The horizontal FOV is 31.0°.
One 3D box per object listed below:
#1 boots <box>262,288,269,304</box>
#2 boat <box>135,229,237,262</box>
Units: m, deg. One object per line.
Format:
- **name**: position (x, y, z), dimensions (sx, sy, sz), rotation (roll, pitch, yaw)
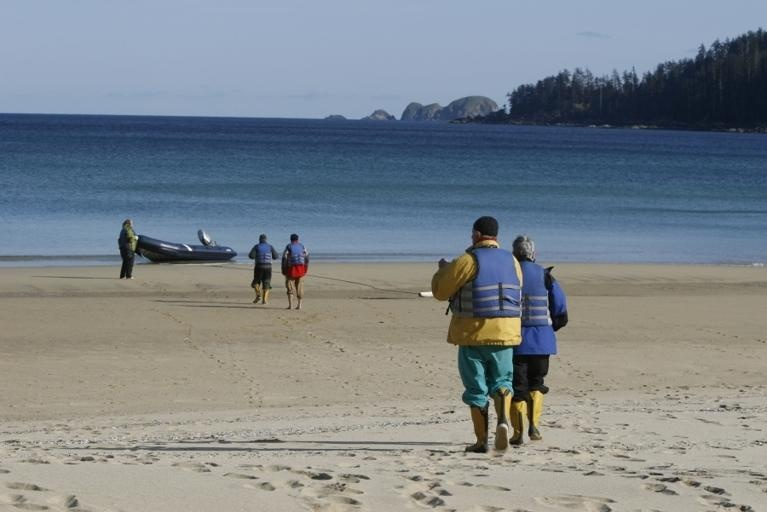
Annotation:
- **boots**: position (-4.939, 1.728, 57.983), dimensions (0.297, 0.635, 1.180), rotation (1, 1, -6)
- **boat**: position (-9.613, -0.336, 66.550), dimensions (3.898, 1.231, 1.763), rotation (4, -1, -15)
